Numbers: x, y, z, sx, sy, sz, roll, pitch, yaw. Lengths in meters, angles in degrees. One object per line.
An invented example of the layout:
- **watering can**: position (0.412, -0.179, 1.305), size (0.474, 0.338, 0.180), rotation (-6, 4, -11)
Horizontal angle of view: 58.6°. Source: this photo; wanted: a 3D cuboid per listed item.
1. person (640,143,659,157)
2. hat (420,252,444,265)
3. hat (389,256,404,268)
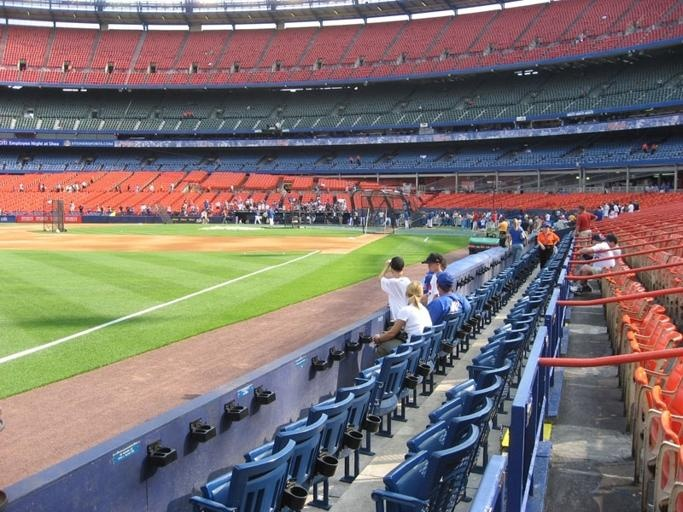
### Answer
- **person**: position (23.385, -8.207, 46.184), size (1.258, 0.251, 1.182), rotation (-8, 34, 0)
- **hat**: position (1.378, 0.030, 9.068), size (0.271, 0.111, 0.168), rotation (3, 3, 5)
- **hat**: position (0.801, 0.073, 8.823), size (0.167, 0.176, 0.185), rotation (4, 27, 2)
